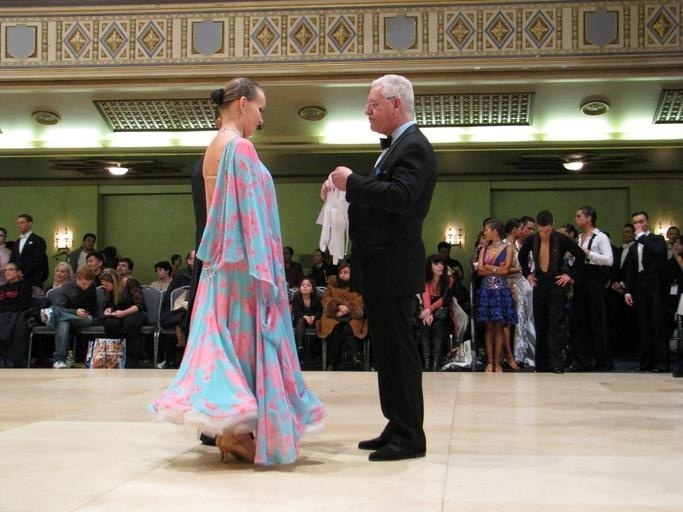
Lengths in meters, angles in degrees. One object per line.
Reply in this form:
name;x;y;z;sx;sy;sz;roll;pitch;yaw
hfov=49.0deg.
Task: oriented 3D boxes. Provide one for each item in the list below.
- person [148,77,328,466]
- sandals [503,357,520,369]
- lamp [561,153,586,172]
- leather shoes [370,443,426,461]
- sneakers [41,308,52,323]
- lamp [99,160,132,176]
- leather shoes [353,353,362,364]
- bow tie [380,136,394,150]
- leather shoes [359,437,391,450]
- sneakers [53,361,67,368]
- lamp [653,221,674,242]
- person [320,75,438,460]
person;-0.643;0.056;4.731;0.934;2.450;0.402;-1;-5;-2
sandals;2.117;1.362;9.528;0.210;0.141;0.543;-1;-6;-1
lamp;3.744;-1.511;12.107;0.307;0.202;0.285;-2;3;16
leather shoes;0.342;1.245;4.792;0.372;0.145;0.127;4;-10;-9
sneakers;-3.809;0.764;9.595;0.113;0.197;0.275;2;-6;-29
lamp;-3.824;-1.488;12.578;0.374;0.133;0.376;3;-3;-4
leather shoes;0.192;1.298;9.537;0.119;0.115;0.117;1;-13;-6
bow tie;0.281;-0.749;4.847;0.094;0.087;0.095;-1;-4;13
leather shoes;0.202;1.233;4.954;0.227;0.092;0.078;-1;-9;13
sneakers;-3.550;1.361;9.411;0.081;0.054;0.135;1;-12;-28
lamp;5.826;-0.497;13.586;0.329;0.354;0.443;-5;-7;34
person;0.285;0.071;4.681;0.606;2.413;0.463;-1;-5;-3
